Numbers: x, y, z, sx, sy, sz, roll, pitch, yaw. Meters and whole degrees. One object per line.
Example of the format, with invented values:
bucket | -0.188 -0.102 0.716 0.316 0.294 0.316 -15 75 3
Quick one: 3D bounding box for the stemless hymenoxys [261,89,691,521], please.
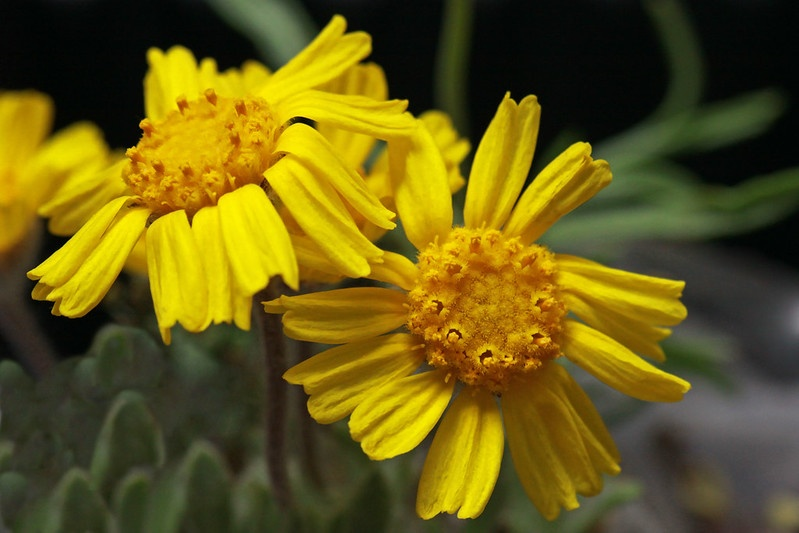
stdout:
stemless hymenoxys | 0.081 0.039 0.728 0.371 0.393 0.163 12 15 21
